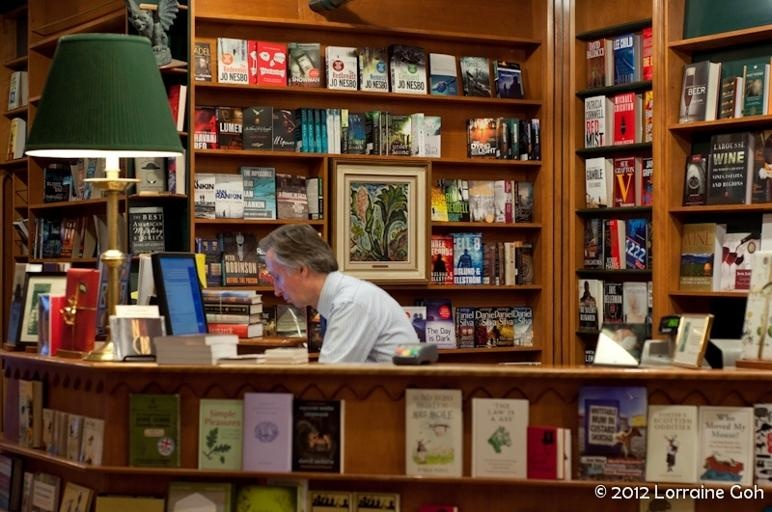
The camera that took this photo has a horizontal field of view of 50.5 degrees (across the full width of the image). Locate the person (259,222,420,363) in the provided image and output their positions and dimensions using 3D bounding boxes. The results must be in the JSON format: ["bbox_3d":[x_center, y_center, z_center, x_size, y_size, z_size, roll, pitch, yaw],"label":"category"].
[{"bbox_3d":[-0.279,0.210,4.747,0.902,0.795,0.522,-1,2,-1],"label":"person"}]

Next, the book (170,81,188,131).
[{"bbox_3d":[-1.672,-1.201,6.631,0.137,0.407,0.209,-2,2,-23],"label":"book"}]

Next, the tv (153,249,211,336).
[{"bbox_3d":[-1.113,0.208,4.541,0.303,0.453,0.333,-2,2,-40],"label":"tv"}]

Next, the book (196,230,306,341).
[{"bbox_3d":[-0.955,0.224,5.774,0.787,0.766,0.257,2,-9,-27],"label":"book"}]

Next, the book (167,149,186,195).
[{"bbox_3d":[-1.699,-0.668,6.583,0.185,0.346,0.133,-1,1,12],"label":"book"}]

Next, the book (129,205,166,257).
[{"bbox_3d":[-1.927,-0.208,6.616,0.292,0.388,0.130,-2,1,-22],"label":"book"}]

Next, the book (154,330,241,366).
[{"bbox_3d":[-1.006,0.483,4.239,0.232,0.088,0.238,-1,0,26],"label":"book"}]

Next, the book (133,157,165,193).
[{"bbox_3d":[-1.897,-0.659,6.598,0.247,0.264,0.092,-2,1,-17],"label":"book"}]
